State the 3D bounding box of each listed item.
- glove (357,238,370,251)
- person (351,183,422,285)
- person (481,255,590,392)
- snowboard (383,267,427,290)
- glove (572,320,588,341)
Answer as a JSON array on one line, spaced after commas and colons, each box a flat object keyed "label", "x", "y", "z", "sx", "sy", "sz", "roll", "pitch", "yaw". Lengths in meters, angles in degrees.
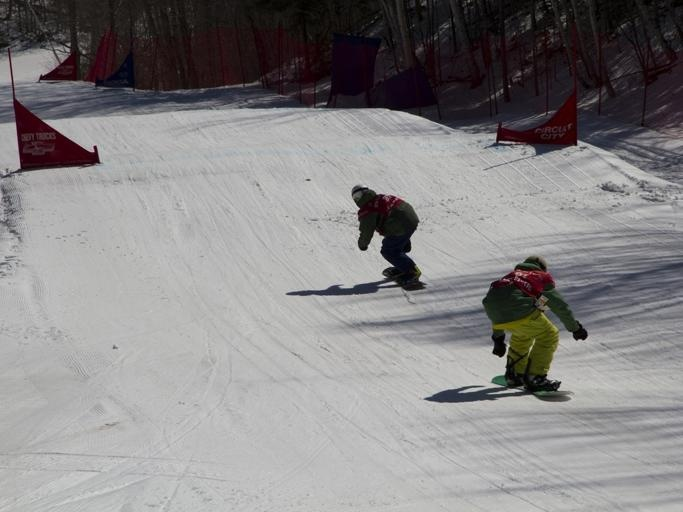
[{"label": "glove", "x": 0.362, "y": -0.166, "z": 10.619, "sx": 0.248, "sy": 0.125, "sz": 0.173, "roll": 0, "pitch": -5, "yaw": 1}, {"label": "person", "x": 0.711, "y": -0.316, "z": 10.691, "sx": 0.896, "sy": 1.500, "sz": 0.476, "roll": -9, "pitch": 17, "yaw": 6}, {"label": "person", "x": 2.087, "y": 0.795, "z": 7.899, "sx": 0.896, "sy": 1.425, "sz": 0.603, "roll": -13, "pitch": 17, "yaw": -6}, {"label": "snowboard", "x": 0.941, "y": 0.349, "z": 10.753, "sx": 0.552, "sy": 0.248, "sz": 0.154, "roll": 23, "pitch": 31, "yaw": 9}, {"label": "glove", "x": 2.578, "y": 0.804, "z": 7.814, "sx": 0.126, "sy": 0.214, "sz": 0.292, "roll": -7, "pitch": 12, "yaw": 16}]
